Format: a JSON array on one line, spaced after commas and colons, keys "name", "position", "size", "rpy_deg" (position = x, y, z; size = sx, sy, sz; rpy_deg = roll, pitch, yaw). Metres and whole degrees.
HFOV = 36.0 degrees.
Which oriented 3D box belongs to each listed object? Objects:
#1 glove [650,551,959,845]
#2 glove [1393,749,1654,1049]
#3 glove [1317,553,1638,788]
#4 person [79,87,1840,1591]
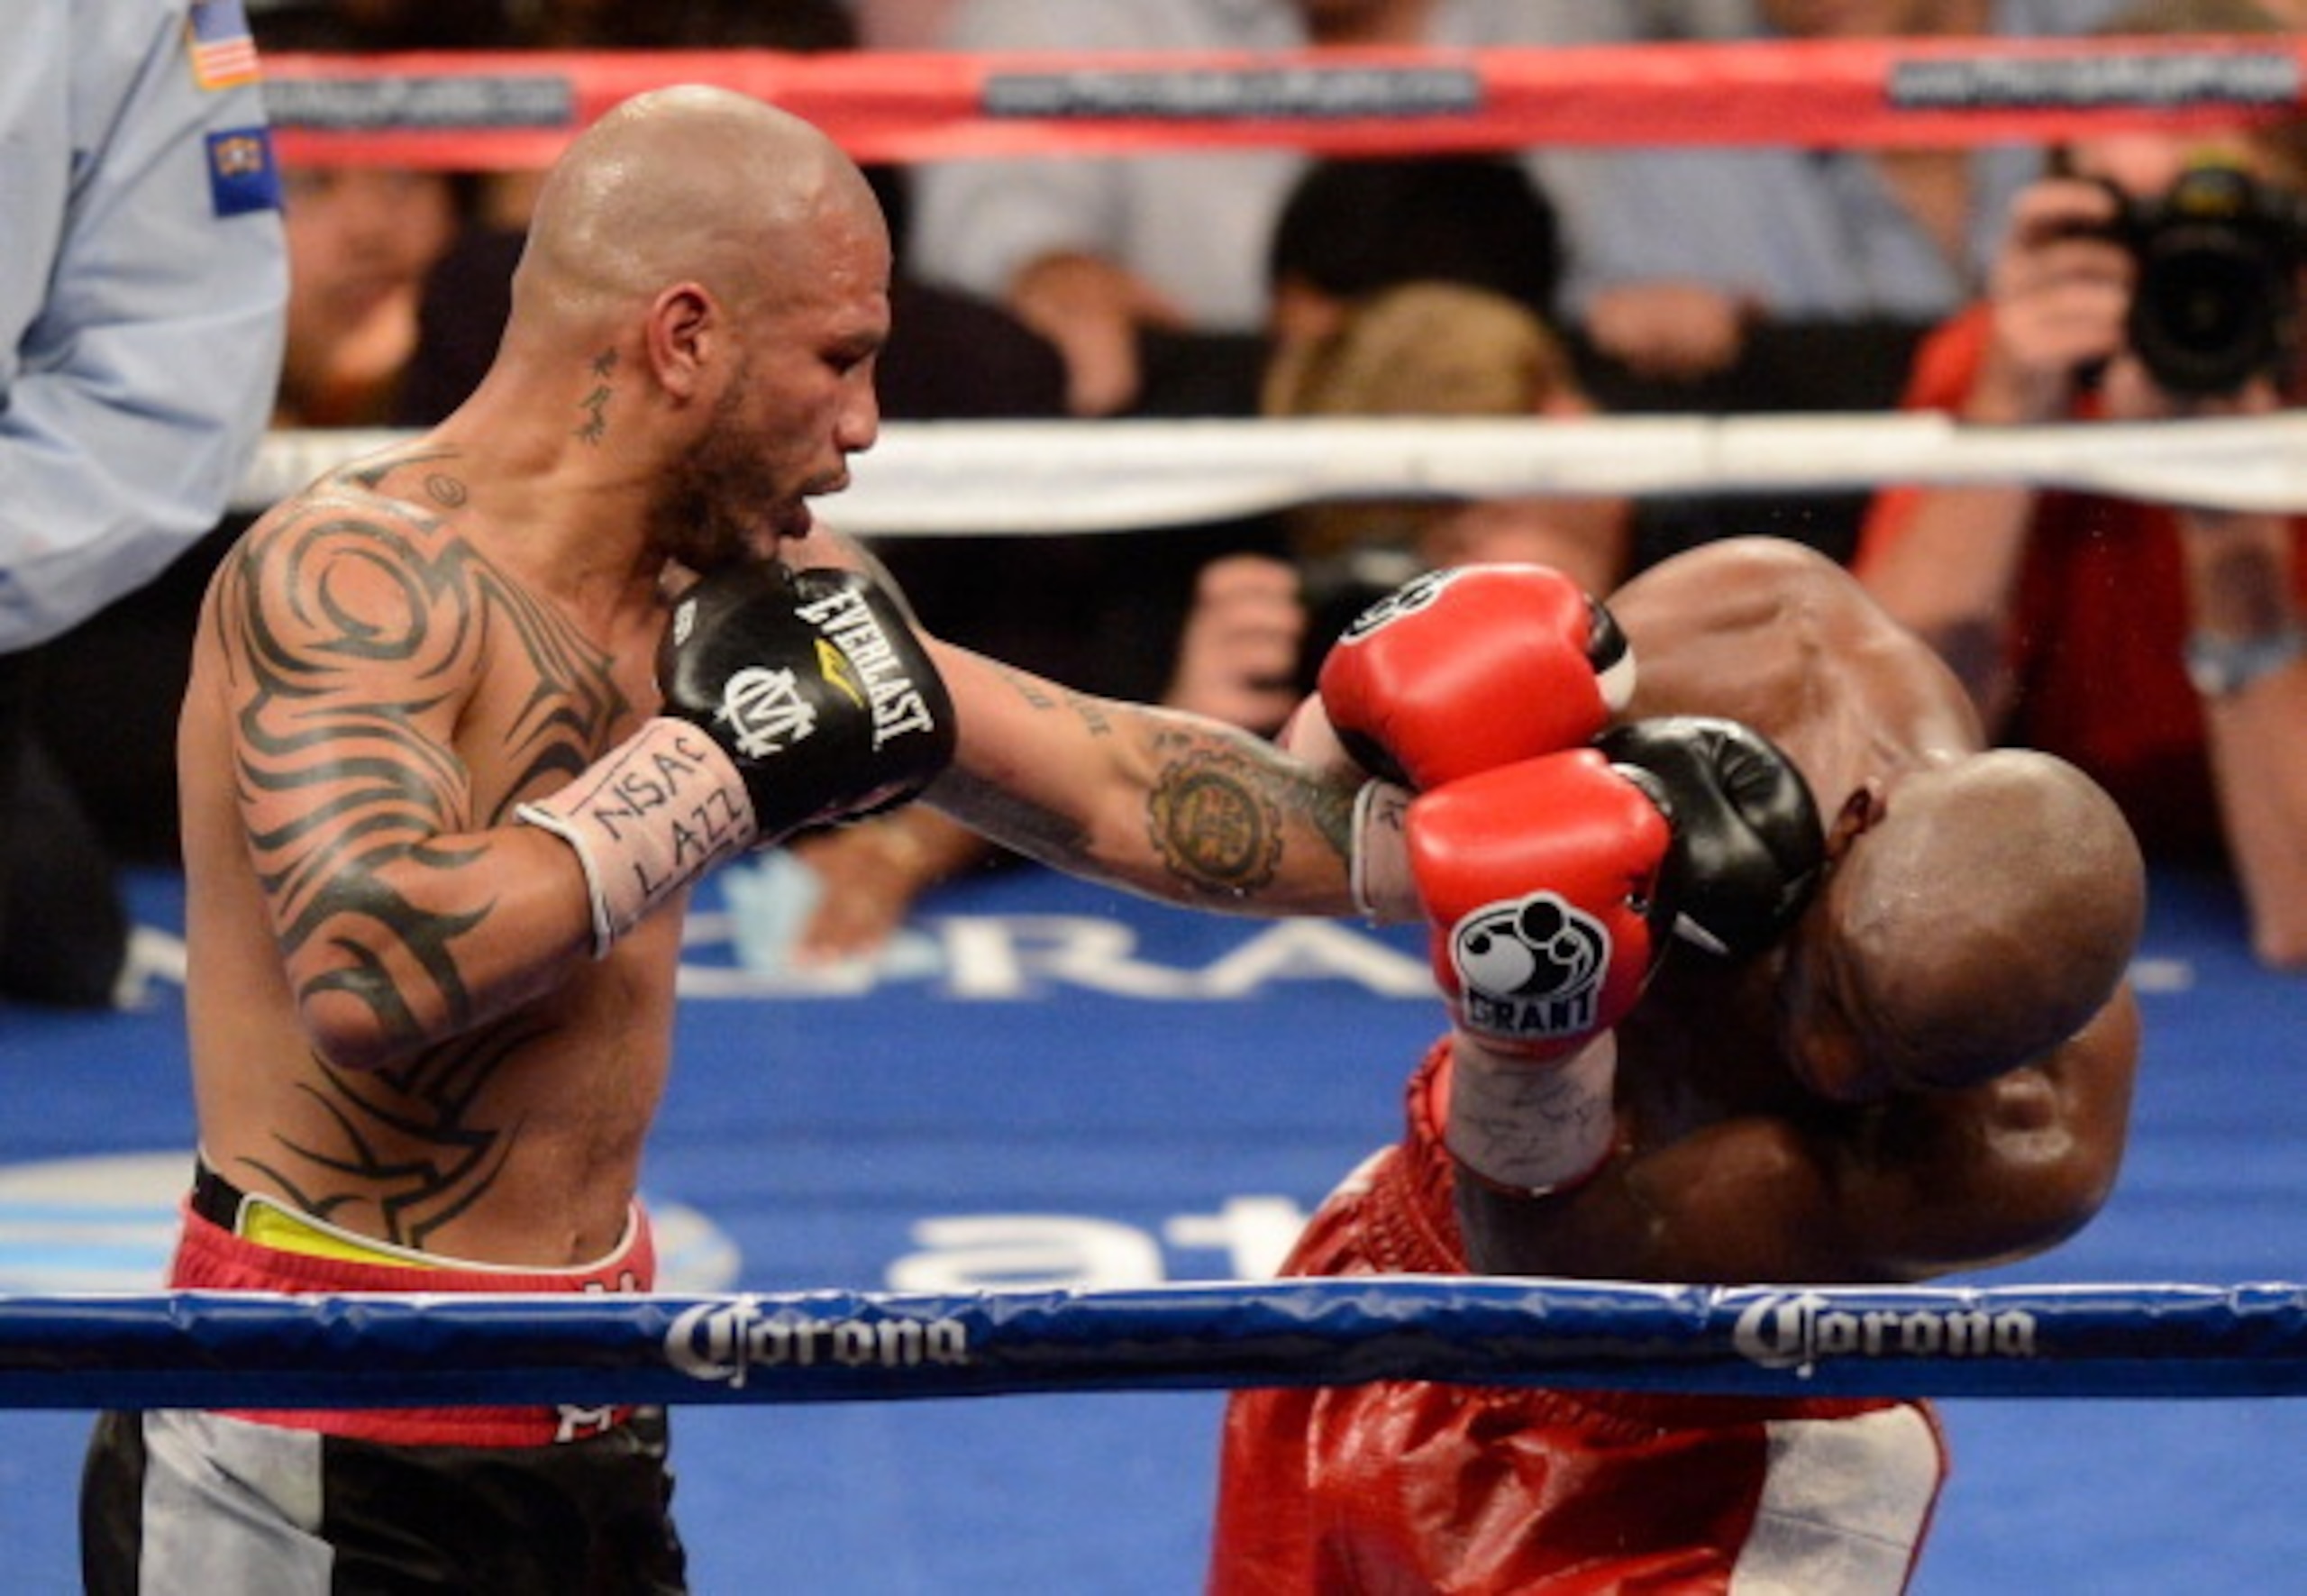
[{"name": "glove", "position": [-0.470, -0.167, 4.627], "size": [0.399, 0.364, 0.171], "rpy_deg": [-27, -18, -21]}, {"name": "glove", "position": [0.501, 0.124, 4.652], "size": [0.358, 0.330, 0.378], "rpy_deg": [-7, 11, -17]}, {"name": "glove", "position": [0.415, -0.179, 4.814], "size": [0.411, 0.192, 0.282], "rpy_deg": [-15, 25, -18]}, {"name": "person", "position": [-0.699, 0.081, 4.657], "size": [0.827, 1.958, 1.434], "rpy_deg": [15, 23, 40]}]
